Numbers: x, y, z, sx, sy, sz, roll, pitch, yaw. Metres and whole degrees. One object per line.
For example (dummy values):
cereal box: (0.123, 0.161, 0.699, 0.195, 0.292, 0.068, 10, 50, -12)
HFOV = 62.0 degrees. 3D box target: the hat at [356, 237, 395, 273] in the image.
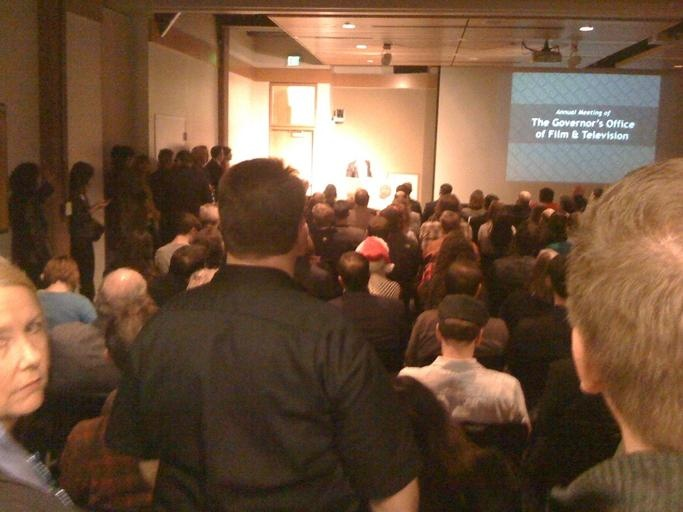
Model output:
hat: (0.188, -0.004, 3.007, 0.188, 0.195, 0.291, -1, -11, 7)

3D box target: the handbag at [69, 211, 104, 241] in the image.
handbag: (-1.776, -0.204, 3.932, 0.202, 0.155, 0.095, 15, 18, 10)
